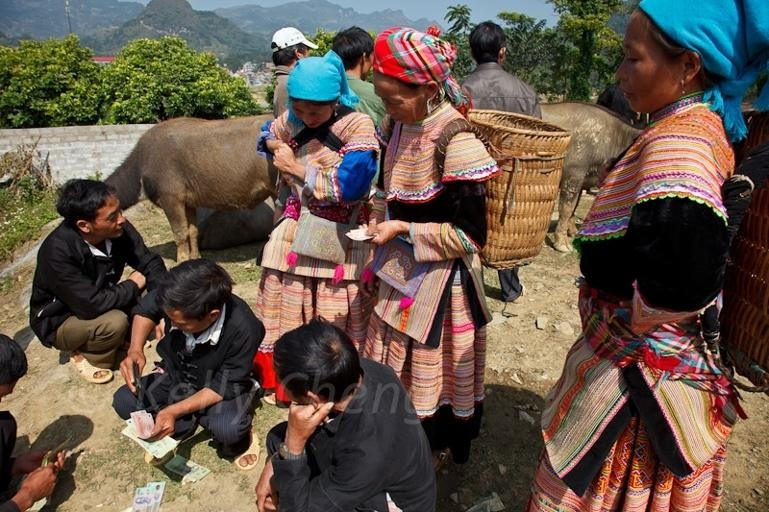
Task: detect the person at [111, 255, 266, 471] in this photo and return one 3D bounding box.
[{"bbox_3d":[-1.434,0.838,3.845,0.934,1.231,0.835,18,33,10],"label":"person"}]

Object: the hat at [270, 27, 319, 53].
[{"bbox_3d":[-0.917,-2.225,5.557,0.481,0.247,0.307,-13,30,-18],"label":"hat"}]

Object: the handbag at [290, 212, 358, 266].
[{"bbox_3d":[-0.449,-0.127,3.820,0.412,0.300,0.242,10,36,3],"label":"handbag"}]

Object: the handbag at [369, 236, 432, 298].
[{"bbox_3d":[0.088,0.060,3.322,0.105,0.358,0.359,-2,42,-52],"label":"handbag"}]

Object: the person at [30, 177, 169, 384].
[{"bbox_3d":[-2.482,0.253,4.632,1.144,1.699,1.152,13,48,-9],"label":"person"}]
